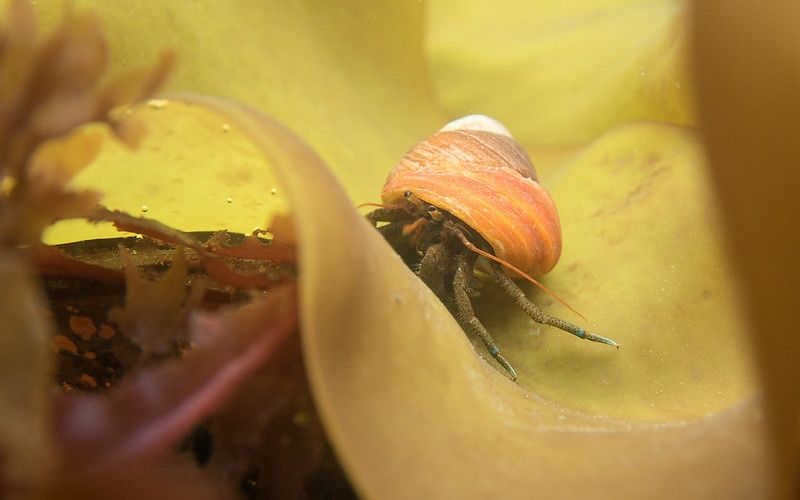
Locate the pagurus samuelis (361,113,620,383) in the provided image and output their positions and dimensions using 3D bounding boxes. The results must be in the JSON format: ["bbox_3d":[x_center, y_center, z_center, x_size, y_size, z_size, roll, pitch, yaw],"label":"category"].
[{"bbox_3d":[0.136,-0.005,1.138,0.401,0.208,0.300,38,40,20],"label":"pagurus samuelis"}]
